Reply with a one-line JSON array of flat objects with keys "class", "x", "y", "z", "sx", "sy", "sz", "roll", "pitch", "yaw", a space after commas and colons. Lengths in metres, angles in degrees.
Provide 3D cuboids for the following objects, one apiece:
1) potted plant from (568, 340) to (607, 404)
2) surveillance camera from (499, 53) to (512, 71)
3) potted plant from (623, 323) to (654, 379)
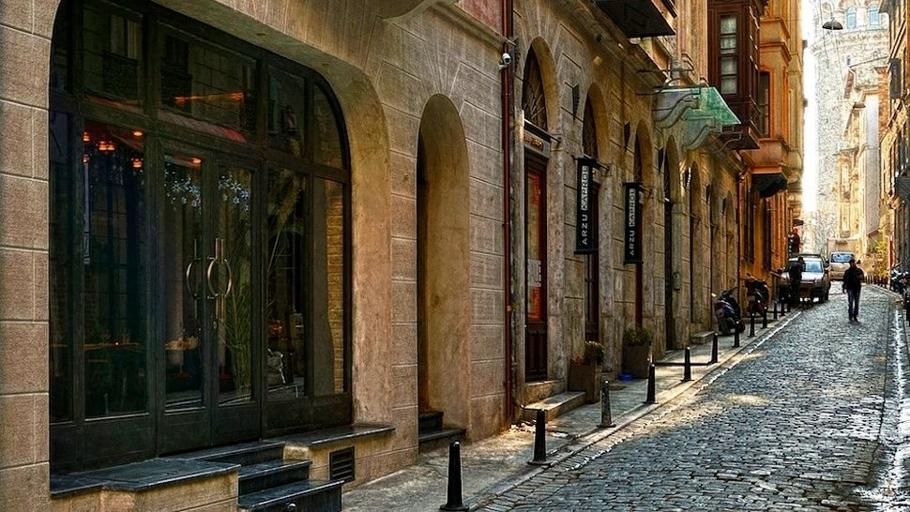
[{"class": "potted plant", "x": 3.053, "y": 2.646, "z": 21.358, "sx": 0.782, "sy": 1.171, "sz": 0.756, "roll": 4, "pitch": -2, "yaw": 8}, {"class": "surveillance camera", "x": 1.017, "y": -3.940, "z": 18.604, "sx": 0.297, "sy": 0.302, "sz": 0.306, "roll": 2, "pitch": -3, "yaw": 13}, {"class": "potted plant", "x": 4.880, "y": 2.536, "z": 24.504, "sx": 1.145, "sy": 1.539, "sz": 1.124, "roll": 0, "pitch": 0, "yaw": 19}]
